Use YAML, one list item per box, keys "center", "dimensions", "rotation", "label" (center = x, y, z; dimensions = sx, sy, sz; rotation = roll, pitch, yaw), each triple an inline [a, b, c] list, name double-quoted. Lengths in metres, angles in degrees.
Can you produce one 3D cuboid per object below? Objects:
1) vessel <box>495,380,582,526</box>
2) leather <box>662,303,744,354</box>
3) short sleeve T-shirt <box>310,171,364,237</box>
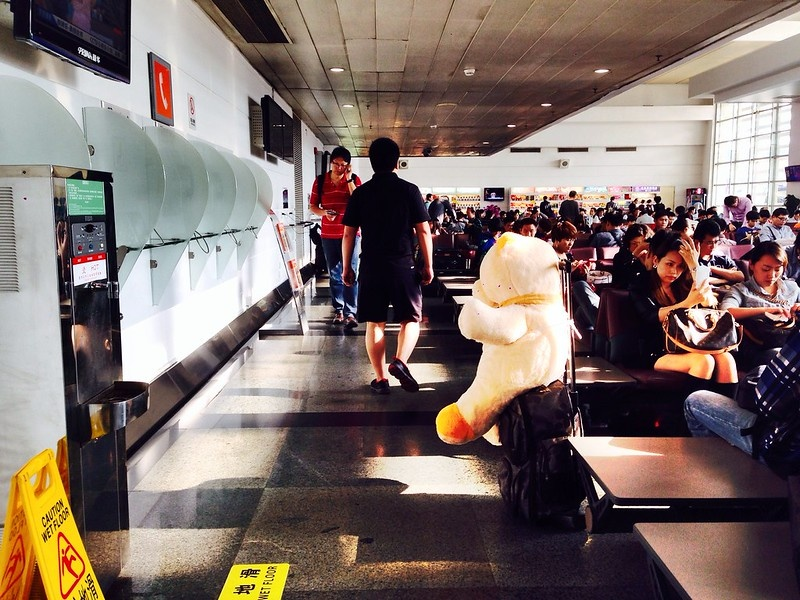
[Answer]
- center: [0.639, 0.680, 2.544]
  dimensions: [0.363, 0.613, 0.138]
  rotation: [1, 9, 5]
  label: "vessel"
- center: [1.723, 0.129, 3.168]
  dimensions: [0.435, 0.261, 0.265]
  rotation: [1, 51, 54]
  label: "leather"
- center: [-0.702, -1.063, 6.471]
  dimensions: [0.644, 0.811, 0.290]
  rotation: [2, 10, -1]
  label: "short sleeve T-shirt"
